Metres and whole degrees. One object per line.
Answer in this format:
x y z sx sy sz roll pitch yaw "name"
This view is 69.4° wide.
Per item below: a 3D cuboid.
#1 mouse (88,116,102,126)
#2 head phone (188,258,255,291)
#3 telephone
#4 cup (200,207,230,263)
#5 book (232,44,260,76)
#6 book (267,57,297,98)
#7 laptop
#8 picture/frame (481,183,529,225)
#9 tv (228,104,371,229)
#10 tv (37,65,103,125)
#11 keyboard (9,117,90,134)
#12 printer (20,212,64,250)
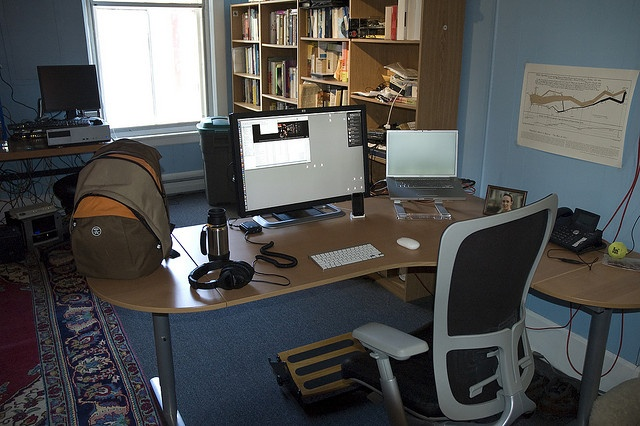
-2.429 -0.998 5.014 0.143 0.037 0.152 -3 26 -22 "mouse"
-0.549 0.345 2.587 0.230 0.083 0.201 -5 23 1 "head phone"
1.650 0.104 2.963 0.281 0.162 0.365 -25 30 -13 "telephone"
-0.643 0.111 2.785 0.182 0.316 0.282 -8 20 -15 "cup"
-1.011 -2.101 6.322 0.448 0.425 0.250 7 21 17 "book"
-0.464 -1.706 5.773 0.513 0.494 0.355 -9 19 -39 "book"
0.760 -0.376 3.443 0.650 0.460 0.483 -3 27 -2 "laptop"
1.275 -0.070 3.197 0.269 0.205 0.014 12 4 42 "picture/frame"
-0.128 -0.307 3.170 0.761 0.637 0.273 -9 20 -19 "tv"
-2.771 -1.310 5.075 0.705 0.707 0.228 -7 13 -37 "tv"
-2.850 -0.929 4.893 0.759 0.123 0.471 -11 22 -23 "keyboard"
-2.775 0.153 4.625 0.350 0.262 0.342 20 27 39 "printer"
